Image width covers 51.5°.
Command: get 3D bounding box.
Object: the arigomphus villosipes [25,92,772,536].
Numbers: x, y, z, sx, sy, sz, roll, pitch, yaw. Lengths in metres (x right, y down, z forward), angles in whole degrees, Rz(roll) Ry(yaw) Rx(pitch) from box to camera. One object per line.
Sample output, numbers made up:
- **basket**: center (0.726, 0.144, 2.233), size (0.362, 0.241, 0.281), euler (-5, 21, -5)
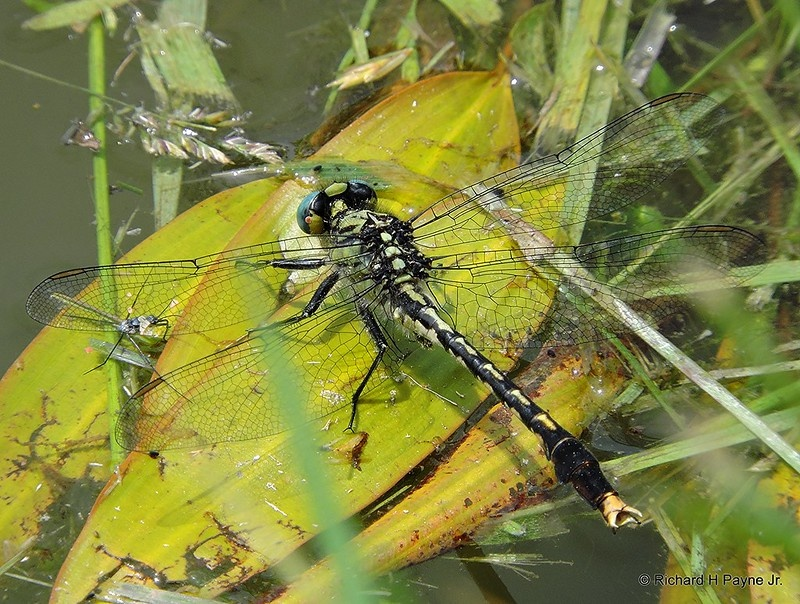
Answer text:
- **arigomphus villosipes**: center (-0.058, -0.249, 4.163), size (3.009, 2.131, 0.574), euler (-15, -33, -7)
